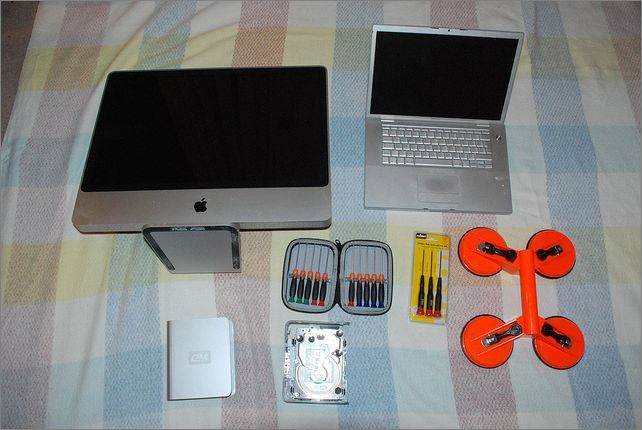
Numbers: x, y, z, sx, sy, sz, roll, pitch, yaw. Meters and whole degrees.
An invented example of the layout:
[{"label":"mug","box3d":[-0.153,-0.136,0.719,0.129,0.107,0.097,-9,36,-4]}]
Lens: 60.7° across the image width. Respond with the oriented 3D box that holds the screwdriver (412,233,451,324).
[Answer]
[{"label":"screwdriver","box3d":[0.453,0.260,2.281,0.145,0.169,0.336,4,54,9]}]
